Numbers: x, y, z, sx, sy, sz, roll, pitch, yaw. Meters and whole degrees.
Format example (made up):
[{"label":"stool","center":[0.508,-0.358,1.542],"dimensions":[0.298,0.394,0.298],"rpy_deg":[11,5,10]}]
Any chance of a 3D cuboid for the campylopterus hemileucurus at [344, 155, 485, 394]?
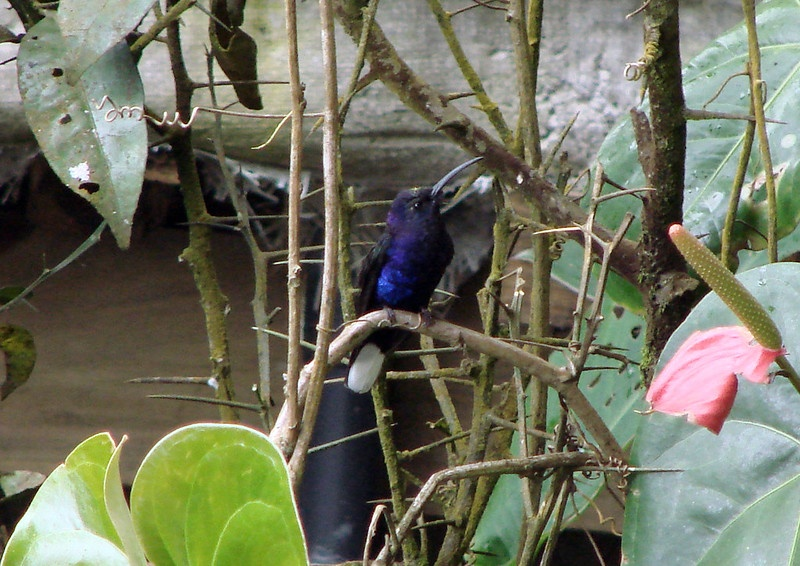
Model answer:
[{"label":"campylopterus hemileucurus","center":[0.018,-0.036,2.952],"dimensions":[0.235,0.588,0.402],"rpy_deg":[6,13,-2]}]
